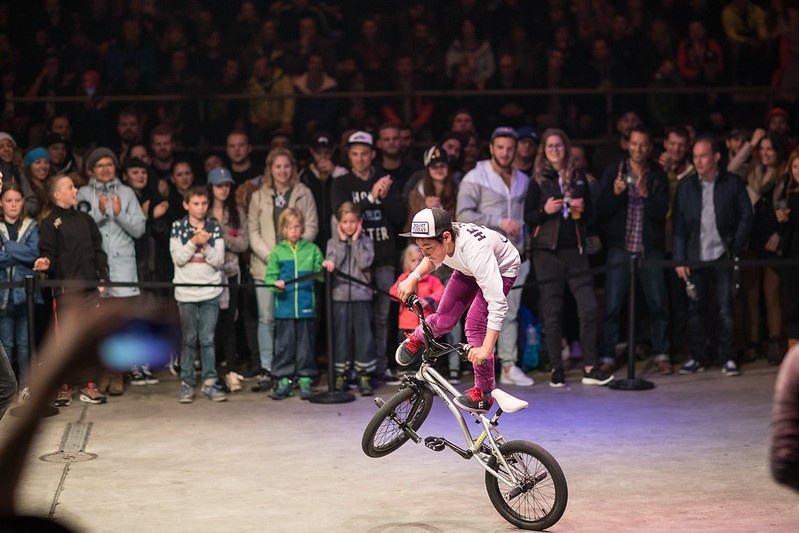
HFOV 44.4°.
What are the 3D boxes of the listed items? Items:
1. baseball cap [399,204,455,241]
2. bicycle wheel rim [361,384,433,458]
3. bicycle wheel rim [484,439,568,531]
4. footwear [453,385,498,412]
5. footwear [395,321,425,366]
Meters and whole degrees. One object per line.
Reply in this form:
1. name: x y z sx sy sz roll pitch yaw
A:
1. baseball cap: 0.263 -0.387 9.137 0.456 0.213 0.289 2 9 17
2. bicycle wheel rim: 0.008 1.542 9.558 0.724 0.668 0.446 -11 49 -43
3. bicycle wheel rim: 1.106 1.955 8.645 0.636 0.589 0.356 -30 1 27
4. footwear: 0.724 1.220 9.038 0.154 0.172 0.461 37 8 32
5. footwear: 0.109 0.845 9.782 0.293 0.208 0.666 -5 9 5
